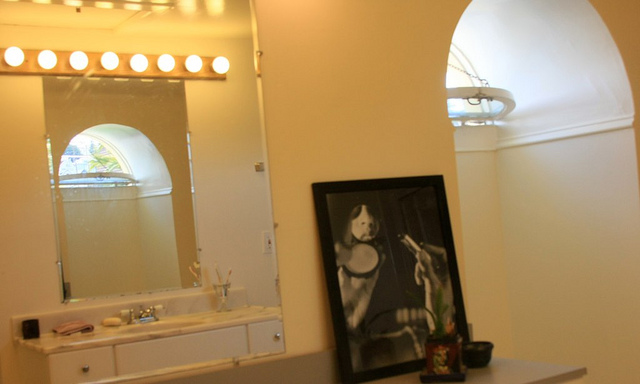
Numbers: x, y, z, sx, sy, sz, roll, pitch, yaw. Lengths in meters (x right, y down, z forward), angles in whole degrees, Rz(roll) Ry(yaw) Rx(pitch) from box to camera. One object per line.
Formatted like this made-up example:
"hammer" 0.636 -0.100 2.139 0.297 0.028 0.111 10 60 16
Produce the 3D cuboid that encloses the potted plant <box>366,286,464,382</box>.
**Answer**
"potted plant" 0.465 0.707 2.502 0.493 0.666 0.386 -3 -6 20

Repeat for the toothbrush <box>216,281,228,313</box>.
"toothbrush" -0.460 0.491 2.257 0.017 0.125 0.055 -4 -1 43

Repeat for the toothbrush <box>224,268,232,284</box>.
"toothbrush" -0.433 0.396 2.276 0.019 0.071 0.020 21 1 1

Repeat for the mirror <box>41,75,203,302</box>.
"mirror" -0.923 -0.012 2.173 0.592 0.980 0.093 -3 -10 -35

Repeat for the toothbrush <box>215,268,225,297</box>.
"toothbrush" -0.468 0.437 2.266 0.026 0.173 0.022 -12 -3 0

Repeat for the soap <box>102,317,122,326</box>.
"soap" -0.926 0.575 2.142 0.079 0.031 0.016 -2 -1 -20

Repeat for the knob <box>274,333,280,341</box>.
"knob" -0.208 0.694 2.309 0.030 0.021 0.030 -14 -16 6

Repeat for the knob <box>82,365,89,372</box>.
"knob" -1.012 0.760 2.077 0.025 0.024 0.025 1 -3 -30
